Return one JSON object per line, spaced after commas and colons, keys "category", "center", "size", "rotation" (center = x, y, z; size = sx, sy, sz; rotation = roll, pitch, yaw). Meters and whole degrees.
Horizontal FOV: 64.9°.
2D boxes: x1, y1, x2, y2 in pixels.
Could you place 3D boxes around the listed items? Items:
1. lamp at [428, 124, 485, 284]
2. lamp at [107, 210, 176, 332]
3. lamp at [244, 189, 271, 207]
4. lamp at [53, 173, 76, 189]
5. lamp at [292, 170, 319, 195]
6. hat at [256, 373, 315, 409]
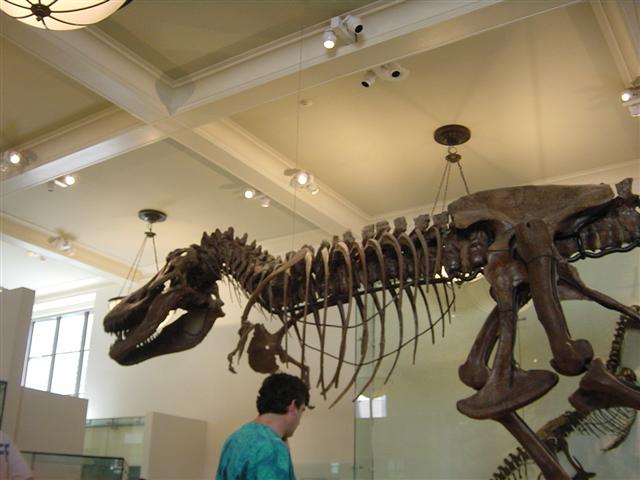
{"category": "lamp", "center": [1.528, -0.296, 5.684], "size": [0.491, 1.468, 1.502], "rotation": [-6, -16, 13]}
{"category": "lamp", "center": [-2.506, 0.221, 7.051], "size": [0.584, 0.856, 1.664], "rotation": [4, -17, -22]}
{"category": "lamp", "center": [-0.774, -0.528, 6.220], "size": [0.151, 0.098, 0.297], "rotation": [6, -5, 16]}
{"category": "lamp", "center": [-2.510, -0.586, 4.913], "size": [0.172, 0.051, 0.121], "rotation": [-11, -2, 42]}
{"category": "lamp", "center": [-0.177, -0.692, 5.841], "size": [0.302, 0.106, 0.227], "rotation": [20, -21, 15]}
{"category": "hat", "center": [-0.160, 0.674, 2.257], "size": [0.198, 0.150, 0.154], "rotation": [4, -9, 9]}
